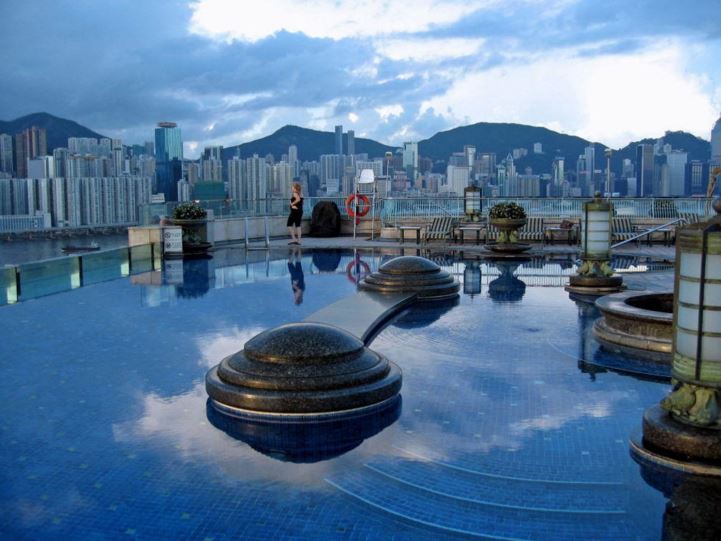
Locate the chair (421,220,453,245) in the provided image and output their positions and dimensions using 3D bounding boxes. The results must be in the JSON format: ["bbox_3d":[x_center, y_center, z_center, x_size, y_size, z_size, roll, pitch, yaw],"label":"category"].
[{"bbox_3d":[2.916,-1.446,21.034,0.912,0.736,0.924,2,9,20],"label":"chair"}]

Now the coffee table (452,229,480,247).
[{"bbox_3d":[4.175,-1.240,21.817,0.760,0.367,0.771,2,8,25],"label":"coffee table"}]

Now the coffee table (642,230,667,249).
[{"bbox_3d":[10.665,-1.155,20.473,0.844,0.489,1.702,3,9,27],"label":"coffee table"}]

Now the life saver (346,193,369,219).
[{"bbox_3d":[-0.176,-2.783,25.387,0.695,1.041,1.190,4,9,31],"label":"life saver"}]
